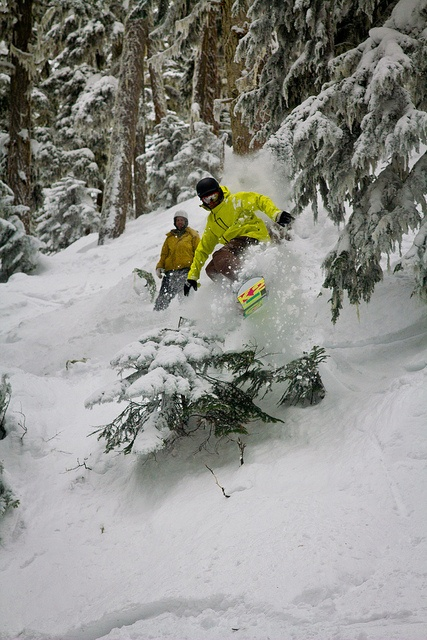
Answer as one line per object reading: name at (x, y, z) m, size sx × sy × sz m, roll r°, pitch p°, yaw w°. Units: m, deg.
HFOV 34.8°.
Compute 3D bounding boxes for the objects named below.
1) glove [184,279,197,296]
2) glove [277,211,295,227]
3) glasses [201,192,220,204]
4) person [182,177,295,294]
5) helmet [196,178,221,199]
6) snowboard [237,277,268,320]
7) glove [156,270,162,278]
glove at (-0.255, -0.344, 7.122) m, size 0.065 × 0.167 × 0.122 m, roll 11°, pitch 9°, yaw 40°
glove at (0.681, -0.954, 6.431) m, size 0.150 × 0.138 × 0.376 m, roll 2°, pitch 8°, yaw 8°
glasses at (-0.030, -1.258, 7.022) m, size 0.104 × 0.083 × 0.139 m, roll -19°, pitch -8°, yaw 3°
person at (0.239, -0.887, 7.065) m, size 1.092 × 1.156 × 0.853 m, roll 4°, pitch 8°, yaw 22°
helmet at (-0.041, -1.377, 7.020) m, size 0.171 × 0.189 × 0.232 m, roll 4°, pitch 50°, yaw 30°
snowboard at (0.379, -0.222, 6.749) m, size 0.326 × 0.374 × 0.050 m, roll -32°, pitch 49°, yaw -14°
glove at (-0.781, -0.669, 9.607) m, size 0.040 × 0.120 × 0.087 m, roll -5°, pitch -4°, yaw 4°
